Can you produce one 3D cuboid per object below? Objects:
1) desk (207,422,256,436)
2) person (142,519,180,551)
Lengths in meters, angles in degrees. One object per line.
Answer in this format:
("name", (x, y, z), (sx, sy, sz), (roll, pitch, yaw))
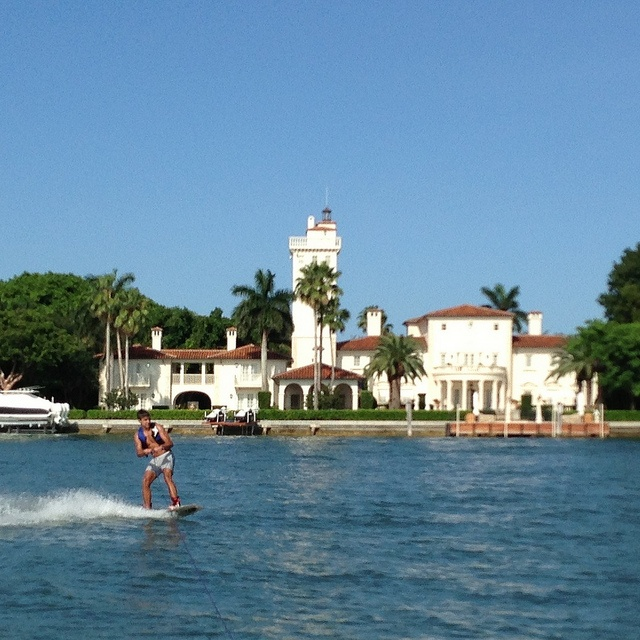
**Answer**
("desk", (-4.688, 6.126, 76.714), (2.747, 0.707, 1.557), (1, -8, -4))
("person", (-3.468, 4.711, 29.716), (0.745, 0.592, 3.278), (1, -8, -7))
